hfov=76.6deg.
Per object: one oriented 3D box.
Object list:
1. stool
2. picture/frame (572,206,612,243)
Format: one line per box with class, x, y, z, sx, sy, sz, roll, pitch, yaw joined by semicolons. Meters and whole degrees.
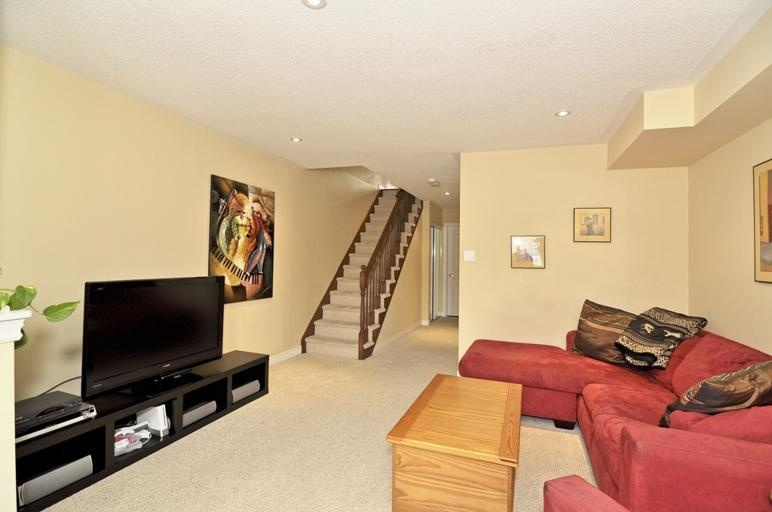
stool;1.394;1.184;4.821;0.865;0.420;0.809;0;-3;26
picture/frame;2.303;-0.352;5.451;0.442;0.433;0.018;-1;-4;11
